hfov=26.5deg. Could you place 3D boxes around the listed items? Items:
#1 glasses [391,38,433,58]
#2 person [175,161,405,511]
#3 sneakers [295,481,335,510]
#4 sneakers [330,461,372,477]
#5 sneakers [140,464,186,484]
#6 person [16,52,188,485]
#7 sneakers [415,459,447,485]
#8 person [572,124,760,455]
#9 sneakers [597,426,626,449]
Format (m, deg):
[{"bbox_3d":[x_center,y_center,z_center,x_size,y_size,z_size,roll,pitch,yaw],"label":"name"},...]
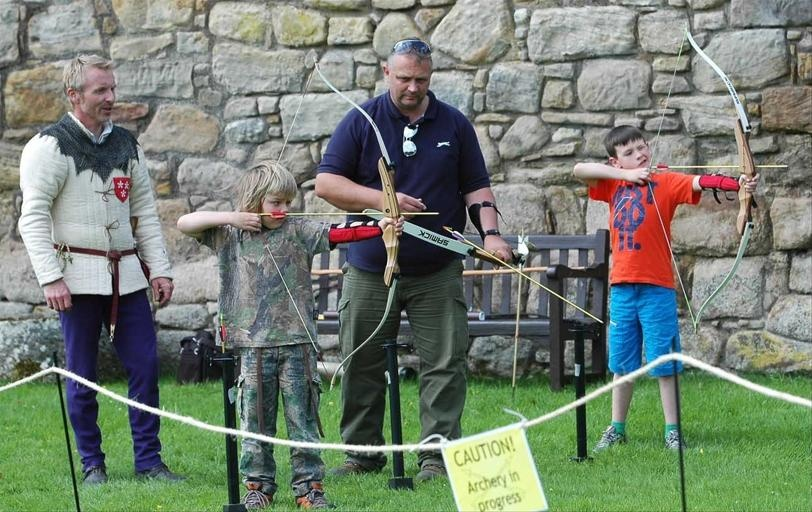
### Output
[{"bbox_3d":[0.033,-1.435,11.869,0.260,0.137,0.144,-1,-2,-2],"label":"glasses"},{"bbox_3d":[-0.914,0.310,11.686,1.216,1.902,0.359,-1,-2,-6],"label":"person"},{"bbox_3d":[-0.623,1.622,11.610,0.139,0.105,0.285,3,-5,-43],"label":"sneakers"},{"bbox_3d":[-0.389,1.509,12.188,0.304,0.115,0.101,3,-5,-6],"label":"sneakers"},{"bbox_3d":[-1.730,1.544,12.146,0.325,0.112,0.116,0,-2,3],"label":"sneakers"},{"bbox_3d":[-2.188,-0.170,12.218,1.041,2.501,0.348,0,-3,-34],"label":"person"},{"bbox_3d":[0.175,1.489,12.021,0.212,0.155,0.224,-2,-2,1],"label":"sneakers"},{"bbox_3d":[1.728,0.201,12.415,0.638,2.344,1.212,0,-3,-39],"label":"person"},{"bbox_3d":[1.488,1.304,12.388,0.331,0.166,0.140,0,-2,-38],"label":"sneakers"}]
